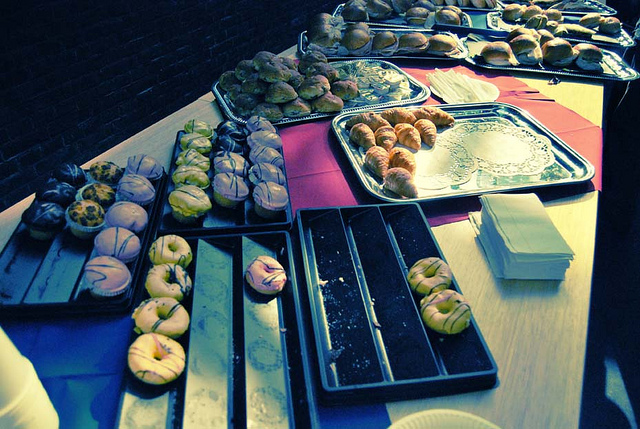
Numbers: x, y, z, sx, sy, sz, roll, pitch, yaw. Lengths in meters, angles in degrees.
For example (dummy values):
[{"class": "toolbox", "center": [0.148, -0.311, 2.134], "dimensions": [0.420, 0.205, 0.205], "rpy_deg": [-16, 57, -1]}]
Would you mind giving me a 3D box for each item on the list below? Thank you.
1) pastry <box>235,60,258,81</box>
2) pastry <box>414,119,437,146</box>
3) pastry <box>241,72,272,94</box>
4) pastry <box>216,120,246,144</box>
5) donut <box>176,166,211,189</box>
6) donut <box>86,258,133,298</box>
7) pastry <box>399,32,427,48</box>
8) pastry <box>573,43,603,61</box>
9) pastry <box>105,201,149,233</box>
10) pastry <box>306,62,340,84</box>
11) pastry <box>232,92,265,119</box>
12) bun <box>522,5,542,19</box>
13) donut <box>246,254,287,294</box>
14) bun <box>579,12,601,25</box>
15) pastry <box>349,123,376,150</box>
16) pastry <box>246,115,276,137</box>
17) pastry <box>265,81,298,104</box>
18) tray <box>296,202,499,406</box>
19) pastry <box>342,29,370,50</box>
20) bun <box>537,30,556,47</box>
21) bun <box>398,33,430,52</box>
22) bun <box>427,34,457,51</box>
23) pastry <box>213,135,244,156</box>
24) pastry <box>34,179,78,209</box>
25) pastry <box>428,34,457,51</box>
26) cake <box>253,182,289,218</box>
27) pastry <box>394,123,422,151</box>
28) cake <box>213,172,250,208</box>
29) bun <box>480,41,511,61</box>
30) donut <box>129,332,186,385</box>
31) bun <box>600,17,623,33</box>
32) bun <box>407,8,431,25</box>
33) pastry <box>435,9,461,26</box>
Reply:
[{"class": "pastry", "center": [-0.339, -0.669, 1.792], "dimensions": [0.080, 0.100, 0.050], "rpy_deg": [15, -9, -3]}, {"class": "pastry", "center": [0.417, -0.320, 1.556], "dimensions": [0.065, 0.118, 0.044], "rpy_deg": [4, -55, -18]}, {"class": "pastry", "center": [-0.274, -0.549, 1.658], "dimensions": [0.105, 0.091, 0.031], "rpy_deg": [25, -31, 15]}, {"class": "pastry", "center": [-0.334, -0.317, 1.470], "dimensions": [0.082, 0.111, 0.036], "rpy_deg": [-7, -49, -25]}, {"class": "donut", "center": [-0.410, -0.112, 1.285], "dimensions": [0.083, 0.080, 0.026], "rpy_deg": [13, -47, -8]}, {"class": "donut", "center": [-0.554, 0.161, 1.011], "dimensions": [0.106, 0.103, 0.062], "rpy_deg": [6, -49, -18]}, {"class": "pastry", "center": [0.504, -0.945, 2.121], "dimensions": [0.100, 0.033, 0.104], "rpy_deg": [-27, 33, -26]}, {"class": "pastry", "center": [1.459, -0.864, 2.122], "dimensions": [0.120, 0.118, 0.062], "rpy_deg": [-26, -46, -33]}, {"class": "pastry", "center": [-0.563, 0.005, 1.132], "dimensions": [0.098, 0.093, 0.053], "rpy_deg": [-19, -36, -45]}, {"class": "pastry", "center": [0.012, -0.643, 1.755], "dimensions": [0.097, 0.120, 0.039], "rpy_deg": [21, -49, 13]}, {"class": "pastry", "center": [-0.309, -0.458, 1.698], "dimensions": [0.171, 0.085, 0.166], "rpy_deg": [4, 9, -9]}, {"class": "bun", "center": [1.453, -1.382, 2.656], "dimensions": [0.118, 0.096, 0.057], "rpy_deg": [-27, -38, -18]}, {"class": "donut", "center": [-0.169, 0.161, 1.088], "dimensions": [0.116, 0.121, 0.049], "rpy_deg": [25, -65, -5]}, {"class": "bun", "center": [1.902, -1.353, 2.751], "dimensions": [0.116, 0.119, 0.055], "rpy_deg": [12, -45, 50]}, {"class": "pastry", "center": [0.198, -0.301, 1.565], "dimensions": [0.107, 0.074, 0.190], "rpy_deg": [15, 12, -4]}, {"class": "pastry", "center": [-0.237, -0.348, 1.504], "dimensions": [0.081, 0.106, 0.033], "rpy_deg": [-15, -52, -17]}, {"class": "pastry", "center": [-0.160, -0.506, 1.628], "dimensions": [0.110, 0.080, 0.061], "rpy_deg": [3, -39, 8]}, {"class": "tray", "center": [0.173, 0.202, 1.092], "dimensions": [0.455, 0.598, 0.063], "rpy_deg": [-3, -44, -13]}, {"class": "pastry", "center": [0.189, -0.936, 2.083], "dimensions": [0.110, 0.125, 0.071], "rpy_deg": [-4, -45, 14]}, {"class": "bun", "center": [1.335, -1.031, 2.297], "dimensions": [0.095, 0.109, 0.061], "rpy_deg": [21, -44, 17]}, {"class": "bun", "center": [0.504, -0.939, 2.124], "dimensions": [0.120, 0.066, 0.098], "rpy_deg": [8, 27, 19]}, {"class": "bun", "center": [0.676, -0.965, 2.141], "dimensions": [0.117, 0.111, 0.058], "rpy_deg": [2, -59, -3]}, {"class": "pastry", "center": [-0.333, -0.253, 1.411], "dimensions": [0.094, 0.069, 0.043], "rpy_deg": [18, -49, 9]}, {"class": "pastry", "center": [-0.830, -0.068, 1.178], "dimensions": [0.101, 0.053, 0.102], "rpy_deg": [-6, 15, -18]}, {"class": "pastry", "center": [0.676, -0.938, 2.142], "dimensions": [0.114, 0.108, 0.056], "rpy_deg": [-1, -58, -7]}, {"class": "cake", "center": [-0.163, -0.049, 1.235], "dimensions": [0.097, 0.110, 0.082], "rpy_deg": [17, -65, -21]}, {"class": "pastry", "center": [0.345, -0.300, 1.536], "dimensions": [0.064, 0.120, 0.050], "rpy_deg": [-8, -51, -31]}, {"class": "cake", "center": [-0.292, -0.073, 1.279], "dimensions": [0.117, 0.083, 0.105], "rpy_deg": [24, 23, 12]}, {"class": "bun", "center": [0.949, -0.882, 2.103], "dimensions": [0.120, 0.117, 0.070], "rpy_deg": [-21, -57, -20]}, {"class": "donut", "center": [-0.403, 0.348, 0.940], "dimensions": [0.140, 0.139, 0.052], "rpy_deg": [16, -68, -40]}, {"class": "bun", "center": [1.969, -1.268, 2.627], "dimensions": [0.117, 0.114, 0.064], "rpy_deg": [9, -9, 8]}, {"class": "bun", "center": [0.628, -1.270, 2.486], "dimensions": [0.115, 0.116, 0.065], "rpy_deg": [4, -28, 10]}, {"class": "pastry", "center": [0.800, -1.231, 2.464], "dimensions": [0.133, 0.098, 0.074], "rpy_deg": [26, -40, 6]}]
